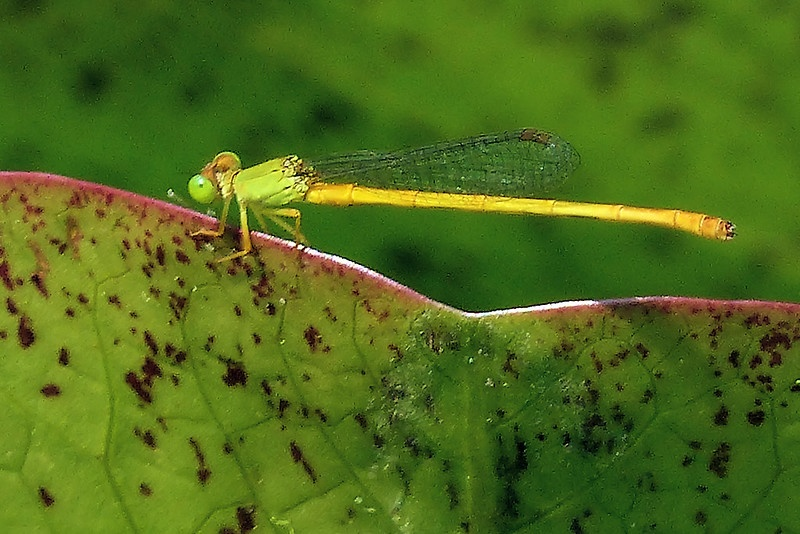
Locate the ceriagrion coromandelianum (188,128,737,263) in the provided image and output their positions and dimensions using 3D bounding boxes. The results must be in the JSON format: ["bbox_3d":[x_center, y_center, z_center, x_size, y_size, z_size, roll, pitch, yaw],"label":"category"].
[{"bbox_3d":[0.216,-0.789,9.722,5.500,1.677,1.394,1,93,-5],"label":"ceriagrion coromandelianum"}]
